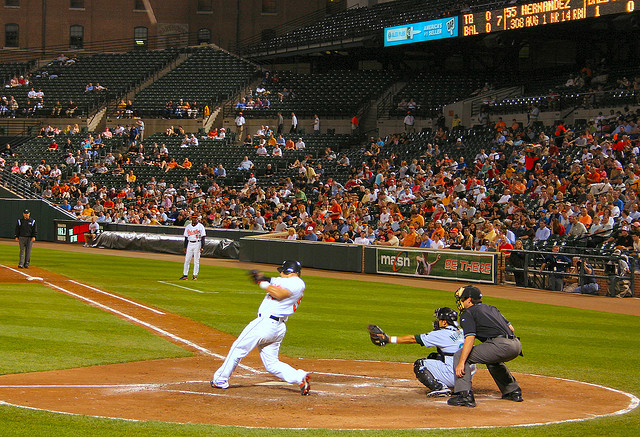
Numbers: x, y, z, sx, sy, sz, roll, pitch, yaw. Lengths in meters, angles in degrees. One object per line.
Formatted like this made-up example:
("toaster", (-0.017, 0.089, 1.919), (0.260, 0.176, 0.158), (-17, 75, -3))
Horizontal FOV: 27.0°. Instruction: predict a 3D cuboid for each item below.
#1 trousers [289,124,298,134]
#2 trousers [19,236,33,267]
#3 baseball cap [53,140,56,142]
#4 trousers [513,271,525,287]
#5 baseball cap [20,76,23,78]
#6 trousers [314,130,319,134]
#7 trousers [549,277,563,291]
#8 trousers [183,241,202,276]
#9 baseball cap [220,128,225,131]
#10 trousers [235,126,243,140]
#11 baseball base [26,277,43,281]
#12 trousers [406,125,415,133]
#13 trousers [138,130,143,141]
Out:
("trousers", (-1.562, -5.098, 77.544), (0.440, 0.698, 0.390), (-6, 12, -12))
("trousers", (-13.195, 1.516, 59.328), (0.547, 1.323, 1.319), (2, -2, -13))
("baseball cap", (-15.625, -4.431, 77.808), (0.139, 0.155, 0.139), (2, 9, 10))
("trousers", (8.534, 2.631, 57.552), (0.488, 0.660, 0.217), (0, -2, 40))
("baseball cap", (-19.491, -9.034, 86.592), (0.306, 0.110, 0.275), (0, 0, 42))
("trousers", (-0.282, -4.910, 77.376), (0.225, 0.234, 0.194), (2, -2, -1))
("trousers", (10.164, 2.828, 56.937), (0.326, 0.528, 0.139), (1, -2, 13))
("trousers", (-5.554, 1.738, 57.709), (0.717, 1.423, 1.393), (2, -2, -7))
("baseball cap", (-5.780, -5.101, 77.941), (0.324, 0.104, 0.319), (6, -3, -15))
("trousers", (-4.847, -4.938, 78.475), (0.429, 0.786, 0.390), (2, -2, -6))
("baseball base", (-12.266, 2.600, 56.962), (0.682, 0.133, 0.706), (3, -3, -15))
("trousers", (5.049, -4.922, 75.151), (0.602, 0.434, 0.210), (3, -2, -33))
("trousers", (-10.663, -4.785, 78.654), (0.243, 0.665, 0.754), (2, -2, -4))
